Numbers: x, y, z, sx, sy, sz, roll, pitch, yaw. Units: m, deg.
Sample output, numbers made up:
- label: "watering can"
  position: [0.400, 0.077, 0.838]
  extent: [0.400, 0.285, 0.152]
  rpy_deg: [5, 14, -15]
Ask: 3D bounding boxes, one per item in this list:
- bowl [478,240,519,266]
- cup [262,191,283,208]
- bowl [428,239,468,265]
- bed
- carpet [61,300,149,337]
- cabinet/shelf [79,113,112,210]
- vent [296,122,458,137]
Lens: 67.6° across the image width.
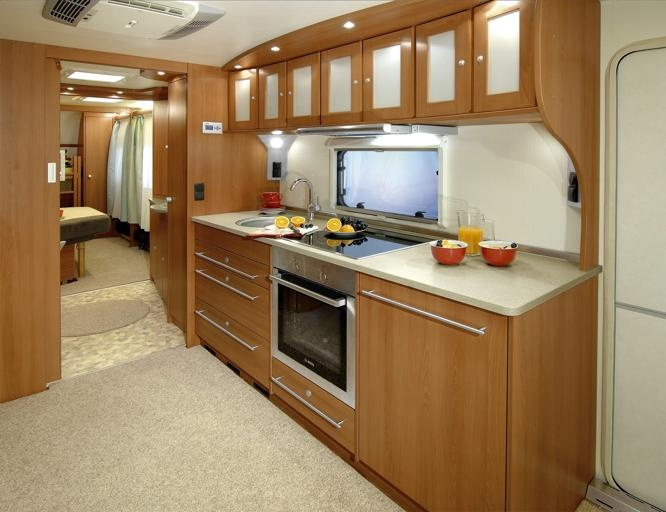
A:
- label: "bowl"
  position: [0.887, -0.013, 2.662]
  extent: [0.181, 0.113, 0.211]
  rpy_deg: [3, 13, 18]
- label: "cup"
  position: [-0.496, -0.475, 4.225]
  extent: [0.158, 0.114, 0.122]
  rpy_deg: [3, -4, -32]
- label: "bowl"
  position: [0.635, -0.023, 2.699]
  extent: [0.176, 0.118, 0.227]
  rpy_deg: [2, 13, 14]
- label: "bed"
  position: [-3.031, -0.144, 6.015]
  extent: [0.585, 0.786, 0.990]
  rpy_deg: [-9, 15, -32]
- label: "carpet"
  position: [-2.184, 0.577, 4.810]
  extent: [0.771, 0.057, 0.828]
  rpy_deg: [-8, 14, -27]
- label: "cabinet/shelf"
  position: [-3.913, -1.516, 8.264]
  extent: [0.392, 1.609, 0.479]
  rpy_deg: [7, 15, 34]
- label: "vent"
  position: [0.237, -0.777, 3.133]
  extent: [1.000, 0.074, 0.449]
  rpy_deg: [8, 16, 34]
